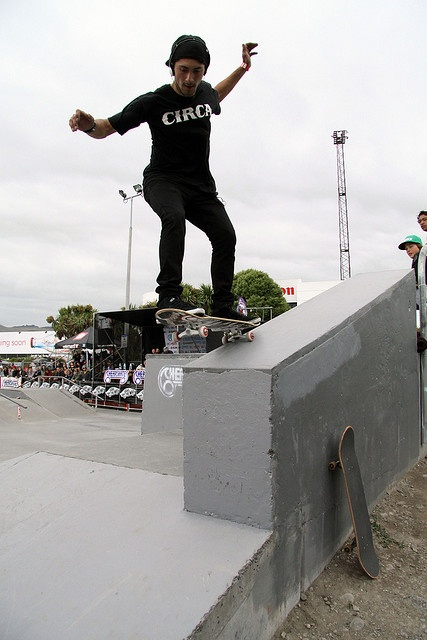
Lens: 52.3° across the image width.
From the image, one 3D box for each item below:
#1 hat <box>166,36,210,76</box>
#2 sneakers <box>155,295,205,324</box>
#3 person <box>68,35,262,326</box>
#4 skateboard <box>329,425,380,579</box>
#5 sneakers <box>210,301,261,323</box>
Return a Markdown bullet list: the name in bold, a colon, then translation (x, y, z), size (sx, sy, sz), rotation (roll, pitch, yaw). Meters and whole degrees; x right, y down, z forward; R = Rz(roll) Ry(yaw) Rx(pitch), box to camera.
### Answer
- **hat**: translation (-0.165, -1.574, 2.579), size (0.258, 0.197, 0.218), rotation (-10, 6, 5)
- **sneakers**: translation (-0.228, -0.073, 2.433), size (0.332, 0.151, 0.125), rotation (-3, -12, 16)
- **person**: translation (-0.251, -0.931, 2.688), size (1.096, 1.856, 0.494), rotation (2, -4, -29)
- **skateboard**: translation (0.780, 0.986, 2.383), size (0.145, 0.969, 0.212), rotation (-16, -14, 38)
- **sneakers**: translation (0.132, -0.058, 2.697), size (0.307, 0.144, 0.112), rotation (2, 3, -4)
